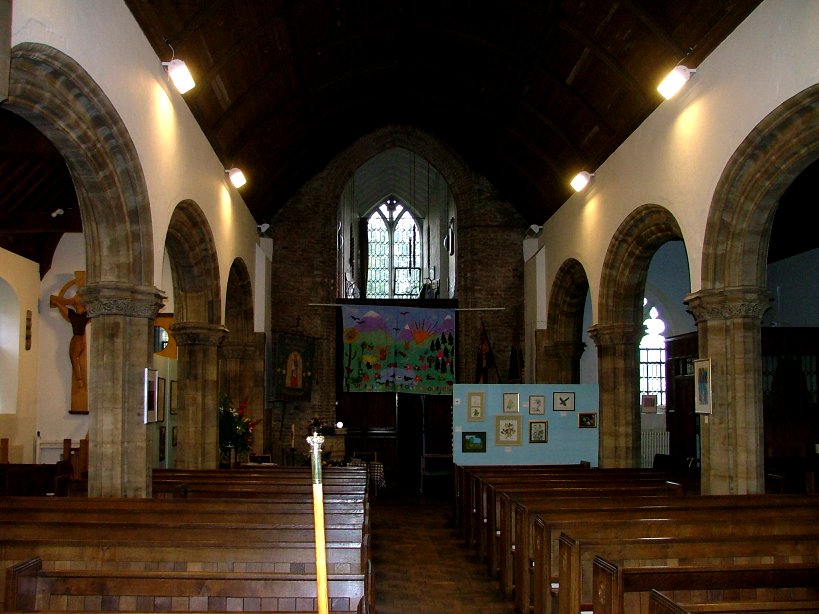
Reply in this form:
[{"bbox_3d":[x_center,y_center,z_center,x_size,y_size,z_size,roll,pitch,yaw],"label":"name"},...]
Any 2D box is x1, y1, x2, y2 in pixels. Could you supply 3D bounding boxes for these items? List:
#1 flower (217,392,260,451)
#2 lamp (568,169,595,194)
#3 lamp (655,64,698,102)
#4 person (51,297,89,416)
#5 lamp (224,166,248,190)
[{"bbox_3d":[-3.261,2.272,14.557,0.579,0.849,0.623,6,-17,24],"label":"flower"},{"bbox_3d":[3.029,-2.257,13.609,0.356,0.296,0.126,-13,0,34],"label":"lamp"},{"bbox_3d":[3.489,-3.014,10.198,0.403,0.337,0.695,2,-11,-1],"label":"lamp"},{"bbox_3d":[-6.508,0.911,14.807,0.586,2.237,0.461,0,-9,6],"label":"person"},{"bbox_3d":[-3.089,-2.301,13.488,0.371,0.456,0.254,-23,-26,-1],"label":"lamp"}]
